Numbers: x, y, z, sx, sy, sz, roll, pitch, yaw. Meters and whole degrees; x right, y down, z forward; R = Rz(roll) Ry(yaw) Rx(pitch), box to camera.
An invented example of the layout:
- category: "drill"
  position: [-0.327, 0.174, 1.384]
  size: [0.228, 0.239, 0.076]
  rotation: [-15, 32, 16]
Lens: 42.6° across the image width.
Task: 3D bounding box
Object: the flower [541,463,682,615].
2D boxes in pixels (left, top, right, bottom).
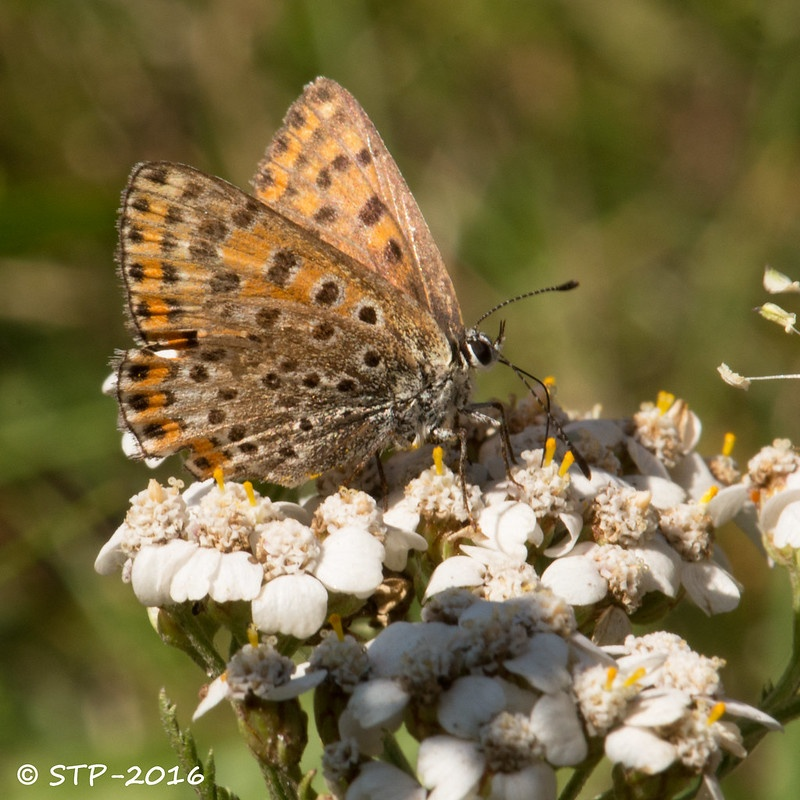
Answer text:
- category: "flower"
  position: [0.690, 0.468, 3.377]
  size: [0.475, 0.250, 0.427]
  rotation: [5, 32, 0]

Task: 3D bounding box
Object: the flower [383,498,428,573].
- category: "flower"
  position: [-0.005, 0.464, 3.518]
  size: [0.115, 0.204, 0.213]
  rotation: [7, -14, -19]

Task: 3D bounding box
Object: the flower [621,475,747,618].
- category: "flower"
  position: [1.018, 0.521, 3.649]
  size: [0.261, 0.492, 0.482]
  rotation: [-42, -9, 9]

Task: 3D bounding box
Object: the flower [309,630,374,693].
- category: "flower"
  position: [-0.175, 0.757, 2.957]
  size: [0.158, 0.165, 0.090]
  rotation: [-33, -14, -2]

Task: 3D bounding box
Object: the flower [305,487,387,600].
- category: "flower"
  position: [-0.200, 0.441, 3.403]
  size: [0.128, 0.230, 0.302]
  rotation: [-56, 31, 34]

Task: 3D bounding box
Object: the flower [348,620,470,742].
- category: "flower"
  position: [0.011, 0.766, 2.831]
  size: [0.319, 0.302, 0.119]
  rotation: [-40, 30, 51]

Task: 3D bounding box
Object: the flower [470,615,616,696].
- category: "flower"
  position: [0.397, 0.696, 2.826]
  size: [0.254, 0.084, 0.251]
  rotation: [14, -6, -42]

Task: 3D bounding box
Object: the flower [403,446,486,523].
- category: "flower"
  position: [0.145, 0.318, 3.622]
  size: [0.282, 0.168, 0.260]
  rotation: [7, 9, -7]

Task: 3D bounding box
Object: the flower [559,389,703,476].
- category: "flower"
  position: [0.921, 0.137, 4.127]
  size: [0.251, 0.400, 0.390]
  rotation: [-44, 9, -3]

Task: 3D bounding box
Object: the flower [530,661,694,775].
- category: "flower"
  position: [0.581, 0.853, 2.743]
  size: [0.164, 0.349, 0.323]
  rotation: [-46, 17, 20]

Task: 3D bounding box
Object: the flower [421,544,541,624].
- category: "flower"
  position: [0.235, 0.550, 3.109]
  size: [0.225, 0.078, 0.221]
  rotation: [-20, 16, 3]

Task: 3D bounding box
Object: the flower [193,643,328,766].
- category: "flower"
  position: [-0.343, 0.825, 2.984]
  size: [0.390, 0.309, 0.379]
  rotation: [-6, 11, 0]

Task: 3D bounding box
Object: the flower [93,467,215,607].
- category: "flower"
  position: [-0.809, 0.476, 3.376]
  size: [0.432, 0.246, 0.423]
  rotation: [-51, 22, -16]

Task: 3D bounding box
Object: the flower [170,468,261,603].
- category: "flower"
  position: [-0.567, 0.462, 3.286]
  size: [0.346, 0.311, 0.166]
  rotation: [-3, -15, -43]

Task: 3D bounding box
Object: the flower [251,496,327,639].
- category: "flower"
  position: [-0.353, 0.570, 3.204]
  size: [0.267, 0.340, 0.145]
  rotation: [-10, -13, -11]

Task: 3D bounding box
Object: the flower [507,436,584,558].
- category: "flower"
  position: [0.486, 0.360, 3.546]
  size: [0.164, 0.315, 0.315]
  rotation: [-31, 16, 14]
